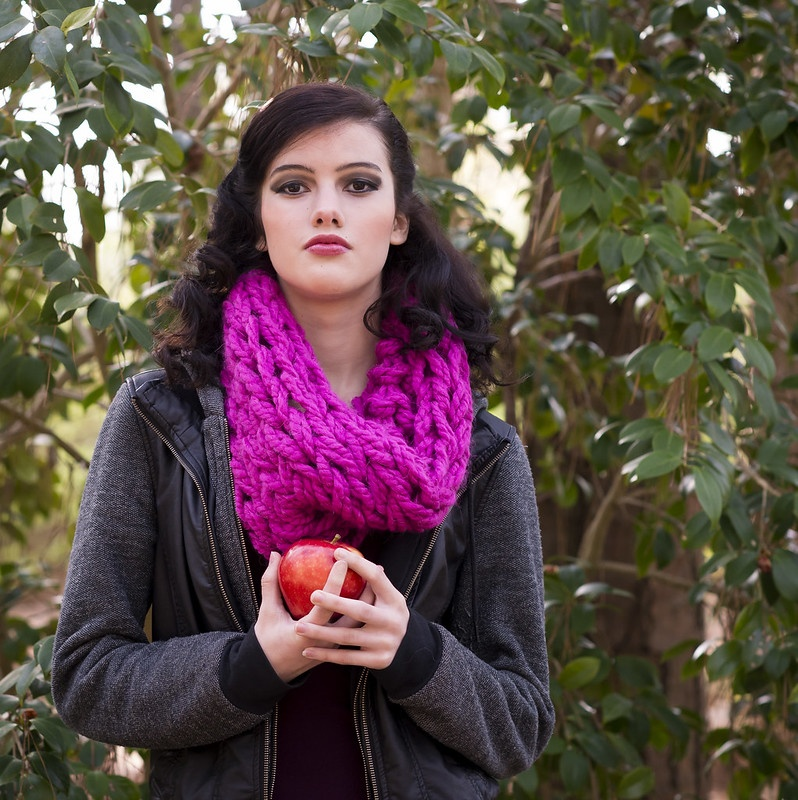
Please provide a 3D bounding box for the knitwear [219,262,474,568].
[{"bbox_3d":[-0.072,0.057,1.428,0.293,0.441,0.183,1,-9,-11],"label":"knitwear"}]

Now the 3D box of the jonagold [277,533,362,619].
[{"bbox_3d":[-0.117,0.227,1.373,0.092,0.119,0.100,25,-8,-9],"label":"jonagold"}]
